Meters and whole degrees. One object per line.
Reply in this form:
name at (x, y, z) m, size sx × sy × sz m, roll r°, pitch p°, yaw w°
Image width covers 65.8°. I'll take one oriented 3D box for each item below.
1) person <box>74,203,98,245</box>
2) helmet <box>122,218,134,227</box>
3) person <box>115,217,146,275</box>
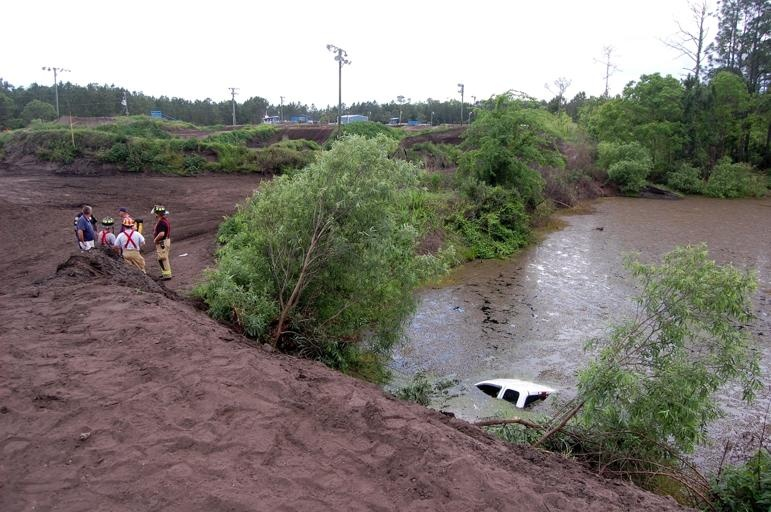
person at (-11.695, -0.820, 23.419) m, size 0.605 × 2.262 × 0.800 m, roll 7°, pitch 20°, yaw 0°
helmet at (-9.879, -1.357, 22.929) m, size 0.347 × 0.345 × 0.460 m, roll -3°, pitch 13°, yaw -22°
person at (-9.866, -0.513, 23.093) m, size 0.948 × 2.133 × 0.972 m, roll -4°, pitch 13°, yaw -26°
